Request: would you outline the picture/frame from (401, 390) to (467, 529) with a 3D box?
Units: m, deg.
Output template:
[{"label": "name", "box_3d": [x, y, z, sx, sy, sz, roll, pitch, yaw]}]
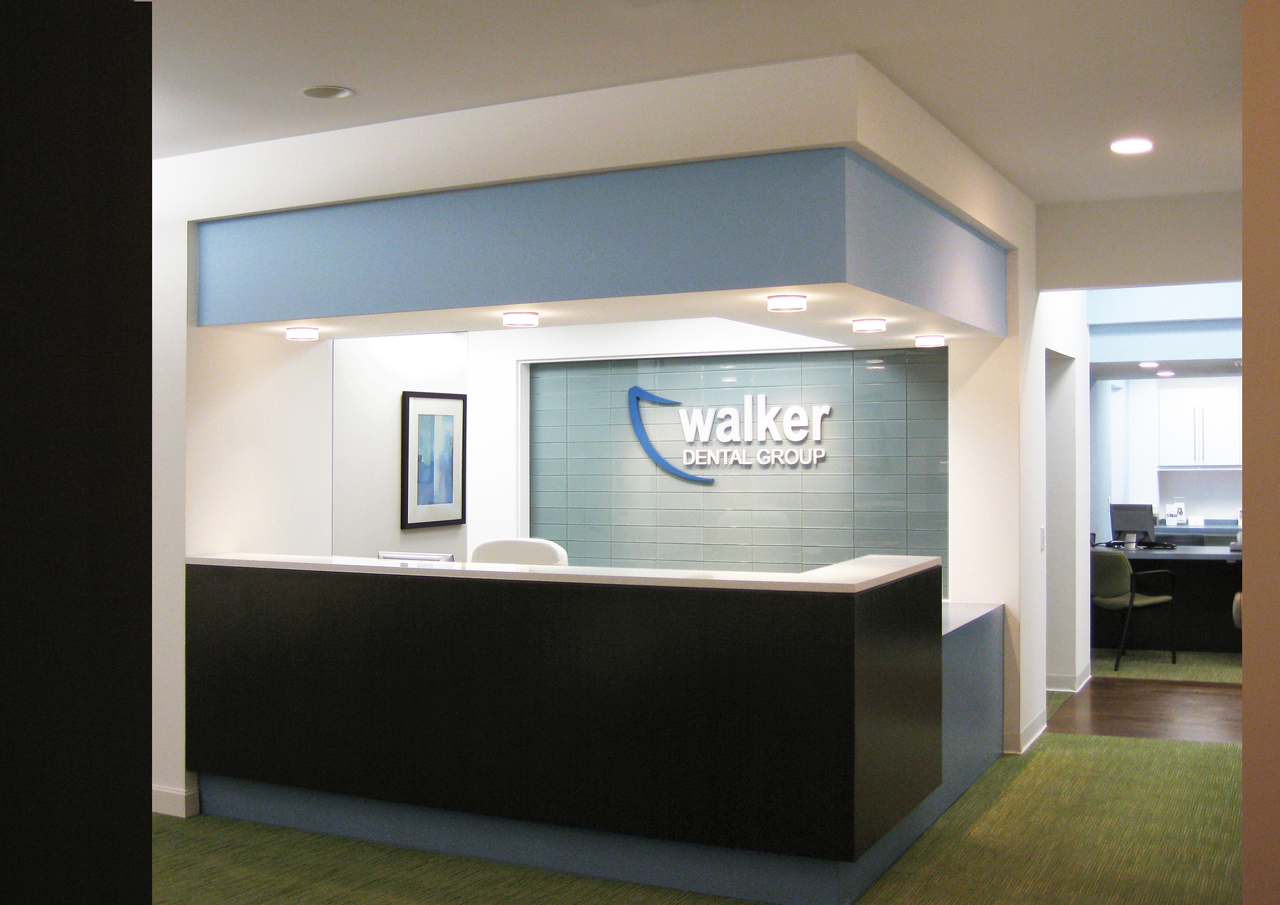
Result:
[{"label": "picture/frame", "box_3d": [-1.616, 0.055, 7.451, 0.757, 1.063, 0.094, -1, -2, 34]}]

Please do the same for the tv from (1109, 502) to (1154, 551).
[{"label": "tv", "box_3d": [5.264, 0.798, 10.044, 0.406, 0.418, 0.164, 1, -2, 34]}]

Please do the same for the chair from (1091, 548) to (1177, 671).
[{"label": "chair", "box_3d": [4.643, 1.368, 8.769, 0.603, 0.942, 0.650, -2, -2, 11]}]

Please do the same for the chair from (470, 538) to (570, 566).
[{"label": "chair", "box_3d": [-0.720, 0.567, 5.418, 0.274, 0.129, 0.650, 1, -1, -38]}]

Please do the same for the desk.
[{"label": "desk", "box_3d": [5.466, 1.495, 9.375, 0.804, 0.999, 1.545, 11, -11, -31]}]
